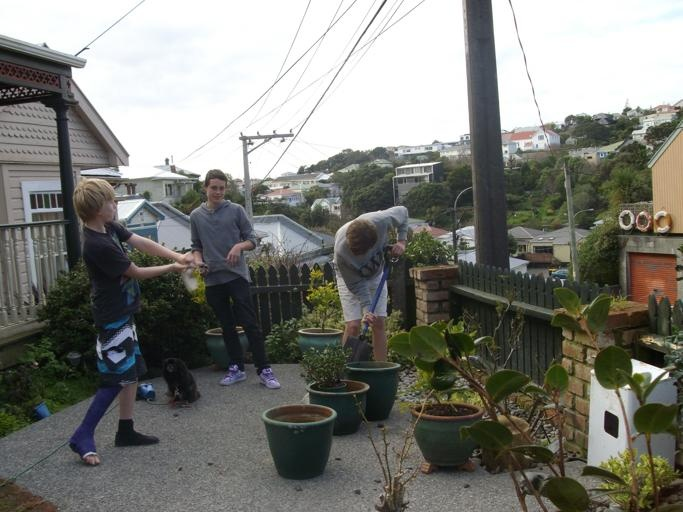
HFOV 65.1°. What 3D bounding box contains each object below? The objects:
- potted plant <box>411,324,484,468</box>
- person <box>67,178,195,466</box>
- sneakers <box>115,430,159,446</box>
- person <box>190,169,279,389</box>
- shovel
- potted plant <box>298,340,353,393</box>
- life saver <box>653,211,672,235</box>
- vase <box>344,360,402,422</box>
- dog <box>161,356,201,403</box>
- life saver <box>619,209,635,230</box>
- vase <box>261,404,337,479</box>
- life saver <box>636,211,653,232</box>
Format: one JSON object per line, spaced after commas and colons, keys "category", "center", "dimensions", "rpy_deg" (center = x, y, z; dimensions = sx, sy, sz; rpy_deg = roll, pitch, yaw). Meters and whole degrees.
{"category": "potted plant", "center": [0.856, 1.175, 4.311], "dimensions": [0.547, 1.022, 0.554], "rpy_deg": [-1, -2, -18]}
{"category": "person", "center": [-1.939, 0.494, 4.816], "dimensions": [0.941, 2.408, 0.995], "rpy_deg": [-3, 5, -15]}
{"category": "sneakers", "center": [-1.832, 1.639, 4.833], "dimensions": [0.379, 0.160, 0.143], "rpy_deg": [0, 3, -18]}
{"category": "person", "center": [-1.270, 0.283, 6.245], "dimensions": [0.968, 2.534, 0.641], "rpy_deg": [-2, 5, -3]}
{"category": "shovel", "center": [0.311, 0.638, 5.619], "dimensions": [0.307, 1.584, 0.160], "rpy_deg": [22, 22, 14]}
{"category": "potted plant", "center": [-0.148, 1.024, 5.094], "dimensions": [0.457, 0.492, 0.378], "rpy_deg": [0, -4, -9]}
{"category": "life saver", "center": [17.846, -1.833, 29.507], "dimensions": [0.468, 1.228, 1.050], "rpy_deg": [-3, 5, -16]}
{"category": "vase", "center": [0.307, 1.338, 5.380], "dimensions": [0.610, 0.559, 0.602], "rpy_deg": [0, 2, -17]}
{"category": "dog", "center": [-1.760, 1.362, 5.877], "dimensions": [0.304, 0.522, 0.501], "rpy_deg": [-4, -3, 8]}
{"category": "life saver", "center": [16.373, -2.017, 30.531], "dimensions": [0.801, 1.175, 0.685], "rpy_deg": [4, 7, 44]}
{"category": "vase", "center": [-0.328, 1.494, 4.294], "dimensions": [0.610, 0.470, 0.607], "rpy_deg": [2, -4, -38]}
{"category": "life saver", "center": [17.024, -1.895, 29.892], "dimensions": [0.772, 1.103, 0.785], "rpy_deg": [2, 6, 29]}
